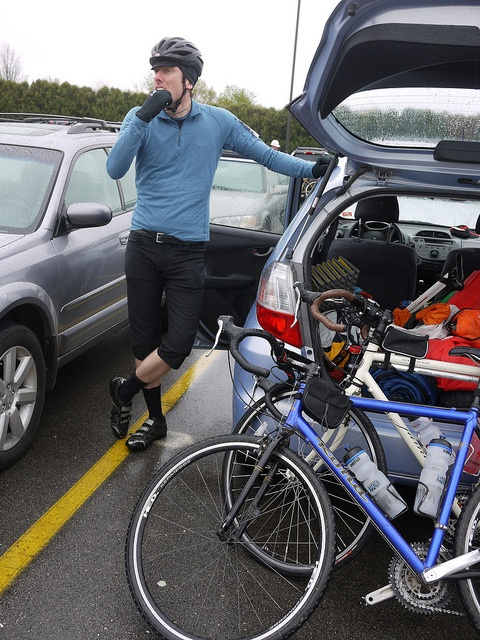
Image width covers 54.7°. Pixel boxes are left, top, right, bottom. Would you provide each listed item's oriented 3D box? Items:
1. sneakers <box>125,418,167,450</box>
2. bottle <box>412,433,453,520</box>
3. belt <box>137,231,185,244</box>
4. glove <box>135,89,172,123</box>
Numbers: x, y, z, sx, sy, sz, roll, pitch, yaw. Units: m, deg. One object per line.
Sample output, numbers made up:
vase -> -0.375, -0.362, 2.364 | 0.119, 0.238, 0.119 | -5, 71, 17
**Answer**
sneakers -> -0.542, 0.663, 2.776 | 0.103, 0.130, 0.294 | 9, 8, 28
bottle -> 0.611, 0.497, 1.455 | 0.085, 0.215, 0.165 | 10, 13, 30
belt -> -0.412, -0.414, 2.340 | 0.114, 0.028, 0.090 | 13, 2, 10
glove -> -0.384, -0.937, 2.045 | 0.103, 0.172, 0.071 | 41, -8, -39
